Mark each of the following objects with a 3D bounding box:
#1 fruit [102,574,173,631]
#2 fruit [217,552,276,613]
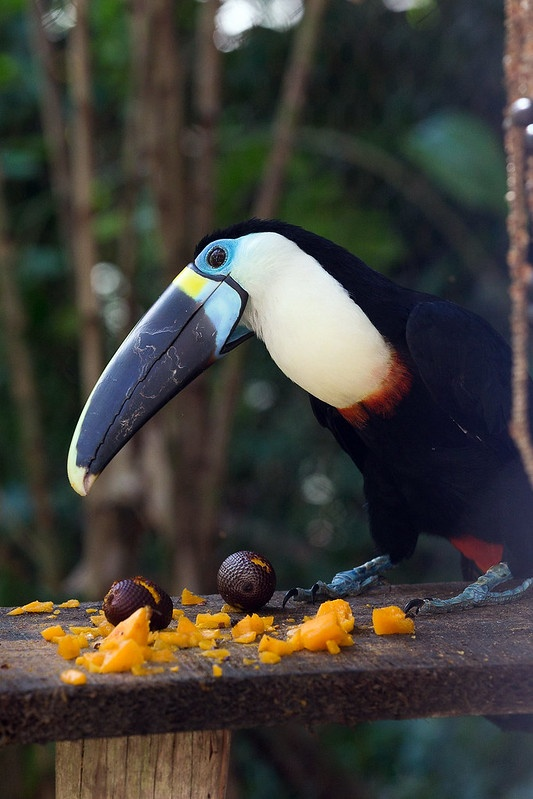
[{"bbox_3d":[-0.231,0.359,1.636,0.126,0.080,0.087,3,-4,-15],"label":"fruit"},{"bbox_3d":[-0.046,0.351,1.804,0.139,0.113,0.119,2,0,-6],"label":"fruit"}]
